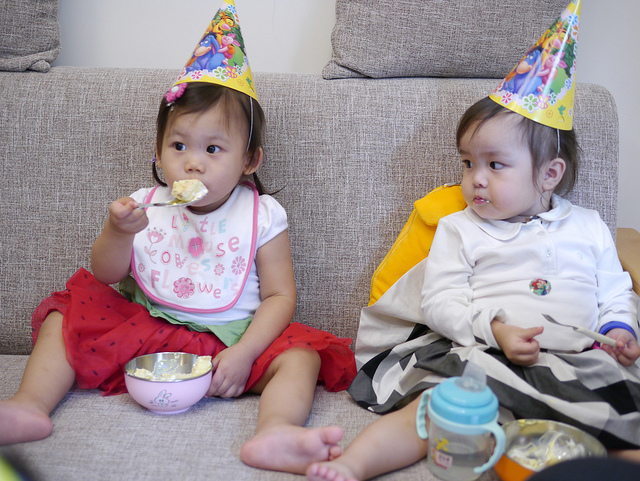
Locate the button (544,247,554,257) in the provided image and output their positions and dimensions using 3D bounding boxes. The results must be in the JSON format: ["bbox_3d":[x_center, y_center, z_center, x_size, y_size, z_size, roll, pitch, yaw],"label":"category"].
[{"bbox_3d":[0.575,0.029,1.297,0.022,0.018,0.018,29,36,26],"label":"button"}]

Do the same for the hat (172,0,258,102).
[{"bbox_3d":[-0.247,-0.507,1.386,0.196,0.211,0.242,17,32,10],"label":"hat"}]

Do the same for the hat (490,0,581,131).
[{"bbox_3d":[0.583,-0.441,1.293,0.224,0.285,0.163,-9,36,-30],"label":"hat"}]

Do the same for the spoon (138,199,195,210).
[{"bbox_3d":[-0.402,-0.093,1.337,0.139,0.024,0.023,-4,66,-9],"label":"spoon"}]

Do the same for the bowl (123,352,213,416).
[{"bbox_3d":[-0.363,0.338,1.201,0.216,0.162,0.147,5,32,-12],"label":"bowl"}]

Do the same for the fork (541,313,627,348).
[{"bbox_3d":[0.627,0.218,1.236,0.149,0.018,0.022,24,68,-7],"label":"fork"}]

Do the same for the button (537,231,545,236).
[{"bbox_3d":[0.564,-0.017,1.317,0.015,0.008,0.012,10,32,-3],"label":"button"}]
